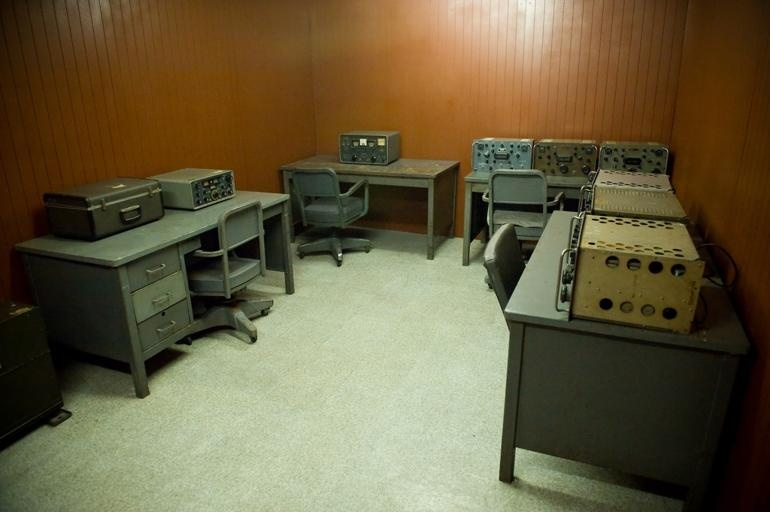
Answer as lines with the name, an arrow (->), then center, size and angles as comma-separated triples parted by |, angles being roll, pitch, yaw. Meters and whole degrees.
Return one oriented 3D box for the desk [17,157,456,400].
desk -> -1.593, 0.221, 4.608 | 1.686, 1.117, 0.848 | -19, 31, -40
